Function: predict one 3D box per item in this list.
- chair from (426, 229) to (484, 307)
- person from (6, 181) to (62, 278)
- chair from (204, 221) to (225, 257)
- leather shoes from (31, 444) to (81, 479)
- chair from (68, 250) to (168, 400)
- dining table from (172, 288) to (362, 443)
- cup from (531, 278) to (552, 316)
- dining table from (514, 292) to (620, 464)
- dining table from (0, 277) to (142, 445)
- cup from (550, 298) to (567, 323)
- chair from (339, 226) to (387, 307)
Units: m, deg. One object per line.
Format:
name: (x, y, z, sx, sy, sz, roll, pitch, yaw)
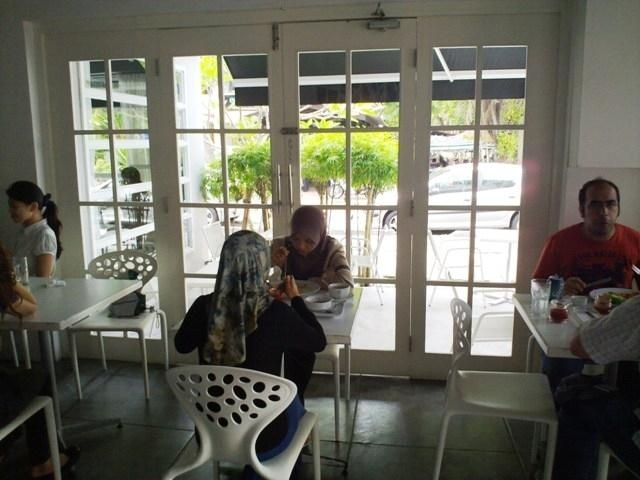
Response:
chair: (1.073, 0.276, 3.837, 0.464, 0.668, 0.396, -2, 3, -6)
person: (-1.963, -0.082, 3.576, 0.381, 0.886, 0.398, -1, 24, -35)
chair: (-0.774, -0.024, 3.850, 0.151, 0.293, 0.165, -15, 32, -29)
leather shoes: (-1.491, 1.276, 2.968, 0.127, 0.157, 0.250, 30, 18, 12)
chair: (-1.417, 0.579, 3.701, 0.523, 0.962, 0.551, 0, 8, -7)
dining table: (-0.245, 0.786, 3.484, 0.960, 1.503, 0.982, 0, 11, 1)
cup: (1.223, 0.321, 2.912, 0.113, 0.187, 0.115, 1, 9, 0)
dining table: (1.221, 0.691, 2.977, 0.617, 0.801, 0.834, -1, 8, 7)
dining table: (-1.447, 0.584, 3.278, 0.875, 0.875, 0.903, 2, 5, 12)
cup: (1.279, 0.379, 2.792, 0.099, 0.116, 0.105, 2, -2, 0)
chair: (0.344, 0.164, 3.972, 0.303, 0.481, 0.256, -4, 5, 5)
